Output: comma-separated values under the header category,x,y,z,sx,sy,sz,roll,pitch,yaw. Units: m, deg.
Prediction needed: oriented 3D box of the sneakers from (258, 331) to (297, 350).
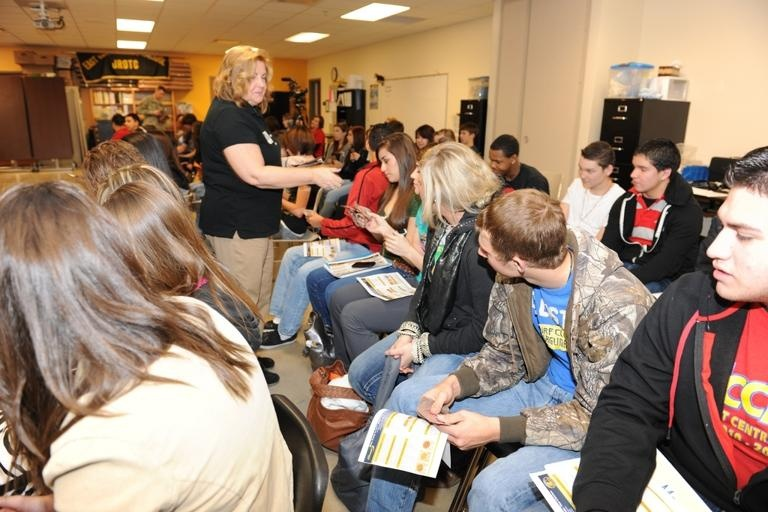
category,x,y,z,sx,sy,sz,roll,pitch,yaw
sneakers,-0.787,0.609,3.745,0.281,0.120,0.106,0,8,-23
